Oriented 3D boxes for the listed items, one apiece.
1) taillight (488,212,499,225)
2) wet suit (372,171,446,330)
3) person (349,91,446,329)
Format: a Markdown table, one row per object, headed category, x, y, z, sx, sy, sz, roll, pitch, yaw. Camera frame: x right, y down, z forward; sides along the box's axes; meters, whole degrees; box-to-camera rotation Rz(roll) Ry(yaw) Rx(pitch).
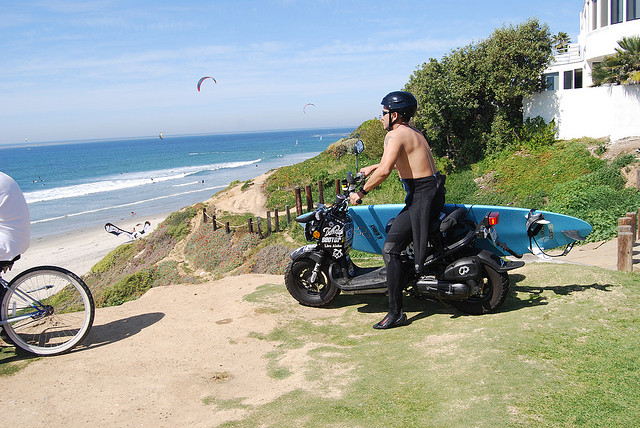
| category | x | y | z | sx | sy | sz | roll | pitch | yaw |
| --- | --- | --- | --- | --- | --- | --- | --- | --- | --- |
| taillight | 2.861 | 0.065 | 8.332 | 0.127 | 0.189 | 0.249 | 0 | 14 | 30 |
| wet suit | 1.438 | 0.187 | 8.771 | 1.462 | 3.684 | 1.450 | 1 | -18 | 4 |
| person | 1.387 | -0.076 | 8.383 | 1.446 | 3.837 | 1.031 | -7 | 13 | 1 |
